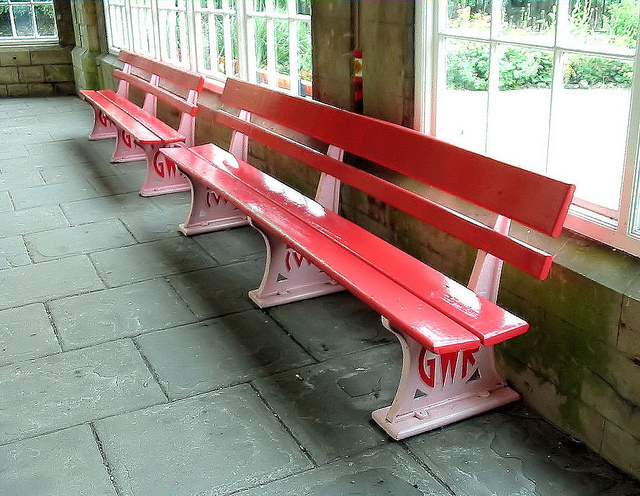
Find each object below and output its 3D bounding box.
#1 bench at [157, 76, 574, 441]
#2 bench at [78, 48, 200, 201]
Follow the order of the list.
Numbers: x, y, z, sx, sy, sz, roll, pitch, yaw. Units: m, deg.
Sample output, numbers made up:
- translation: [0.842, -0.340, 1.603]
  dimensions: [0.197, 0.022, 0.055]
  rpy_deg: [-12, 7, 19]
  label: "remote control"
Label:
- translation: [0.152, -0.183, 3.043]
  dimensions: [1.066, 1.324, 2.818]
  rpy_deg: [-14, 30, -30]
  label: "bench"
- translation: [-2.384, -1.777, 6.011]
  dimensions: [0.755, 1.249, 2.592]
  rpy_deg: [-16, 35, -35]
  label: "bench"
